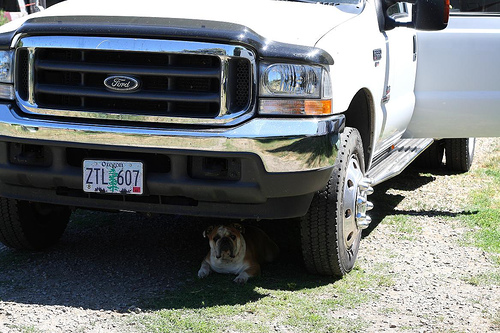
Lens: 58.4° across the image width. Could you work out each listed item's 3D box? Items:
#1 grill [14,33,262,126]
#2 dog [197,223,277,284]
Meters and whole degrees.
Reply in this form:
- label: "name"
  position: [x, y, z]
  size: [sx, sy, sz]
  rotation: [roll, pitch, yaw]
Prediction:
- label: "grill"
  position: [-0.865, -0.599, 3.304]
  size: [1.726, 0.632, 0.499]
  rotation: [2, -5, -6]
- label: "dog"
  position: [-0.097, 0.740, 3.922]
  size: [0.374, 0.274, 0.610]
  rotation: [1, -3, 21]
